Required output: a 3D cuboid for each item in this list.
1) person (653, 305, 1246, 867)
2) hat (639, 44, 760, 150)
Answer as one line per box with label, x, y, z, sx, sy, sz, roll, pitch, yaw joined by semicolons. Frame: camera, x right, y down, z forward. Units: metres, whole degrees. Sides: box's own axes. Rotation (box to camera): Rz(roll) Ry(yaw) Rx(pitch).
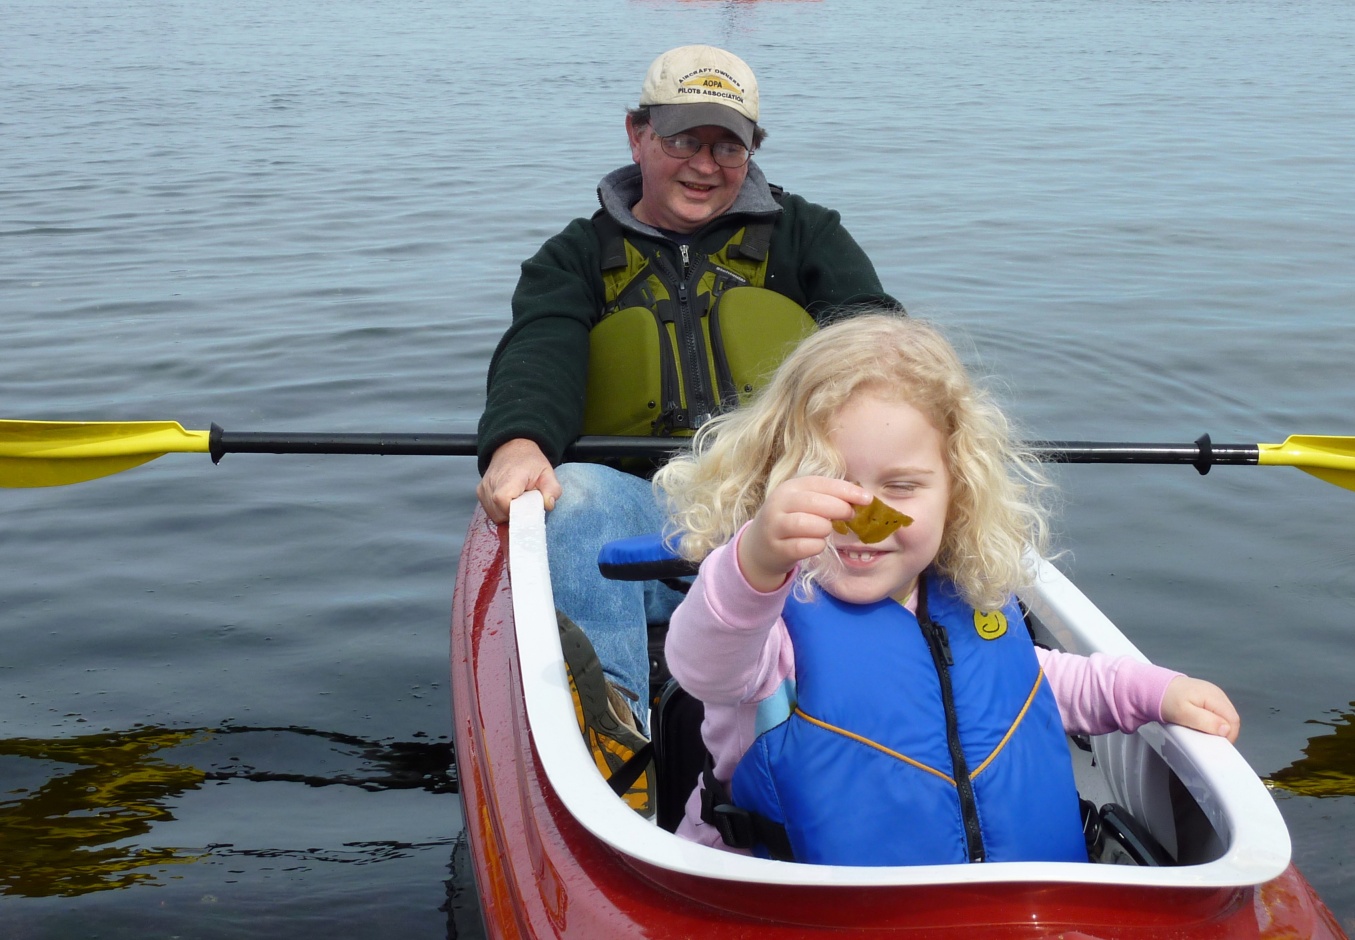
person;0.456;0.364;3.372;1.186;1.211;0.566;-5;-7;-11
hat;0.074;-1.119;4.690;0.316;0.170;0.384;5;13;-8
